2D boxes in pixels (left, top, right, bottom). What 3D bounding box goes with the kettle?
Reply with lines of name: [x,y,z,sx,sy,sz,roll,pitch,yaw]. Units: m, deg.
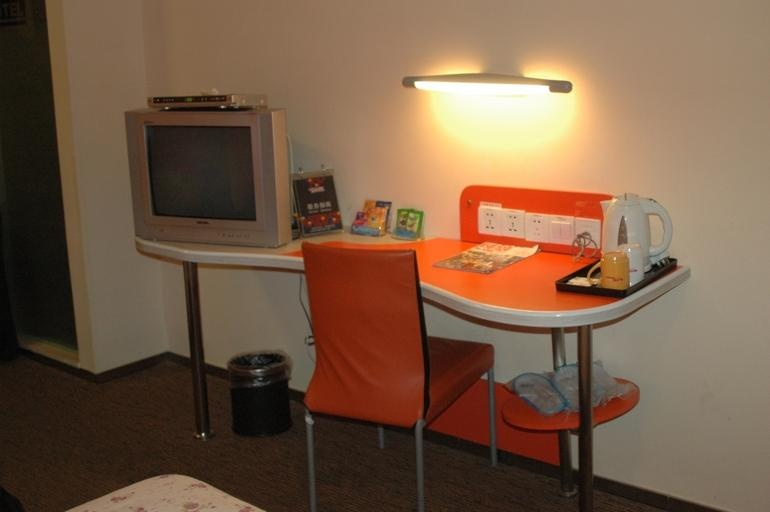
kettle: [1.042,-0.100,2.570,0.286,0.297,0.217,5,12,39]

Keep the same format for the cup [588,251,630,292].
cup: [0.869,0.074,2.415,0.148,0.140,0.094,-1,9,19]

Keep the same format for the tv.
tv: [-0.874,-0.426,3.423,0.976,0.720,0.504,5,14,22]

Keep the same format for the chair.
chair: [0.118,0.443,2.862,0.810,1.163,0.919,10,25,16]

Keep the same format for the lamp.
lamp: [0.452,-0.782,2.812,0.761,0.102,0.275,7,16,24]
